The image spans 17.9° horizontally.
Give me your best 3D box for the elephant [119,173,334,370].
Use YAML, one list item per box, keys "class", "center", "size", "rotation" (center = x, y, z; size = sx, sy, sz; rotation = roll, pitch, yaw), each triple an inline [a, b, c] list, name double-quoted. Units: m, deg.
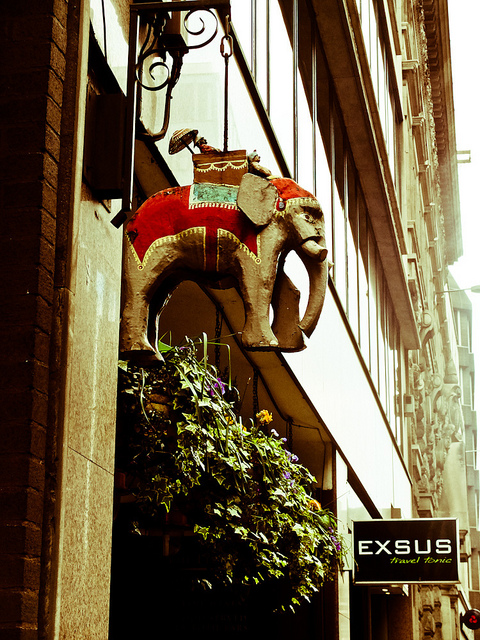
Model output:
- class: "elephant"
  center: [-0.063, -0.091, 5.599]
  size: [0.747, 0.833, 0.587]
  rotation: [1, -38, -2]
